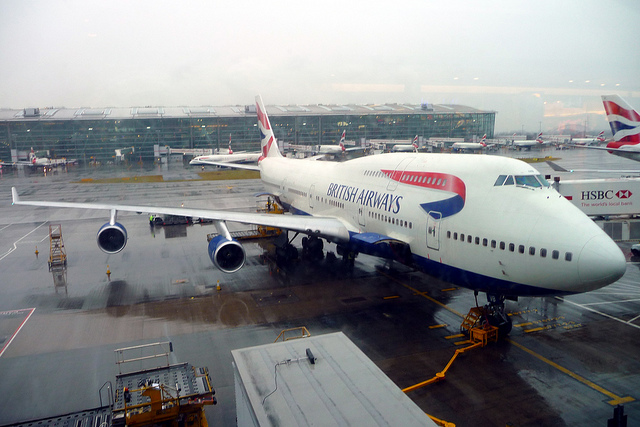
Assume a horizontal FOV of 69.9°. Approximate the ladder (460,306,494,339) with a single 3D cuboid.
[{"bbox_3d":[8.184,5.595,24.679,1.660,1.483,0.974,1,-6,-18],"label":"ladder"}]
